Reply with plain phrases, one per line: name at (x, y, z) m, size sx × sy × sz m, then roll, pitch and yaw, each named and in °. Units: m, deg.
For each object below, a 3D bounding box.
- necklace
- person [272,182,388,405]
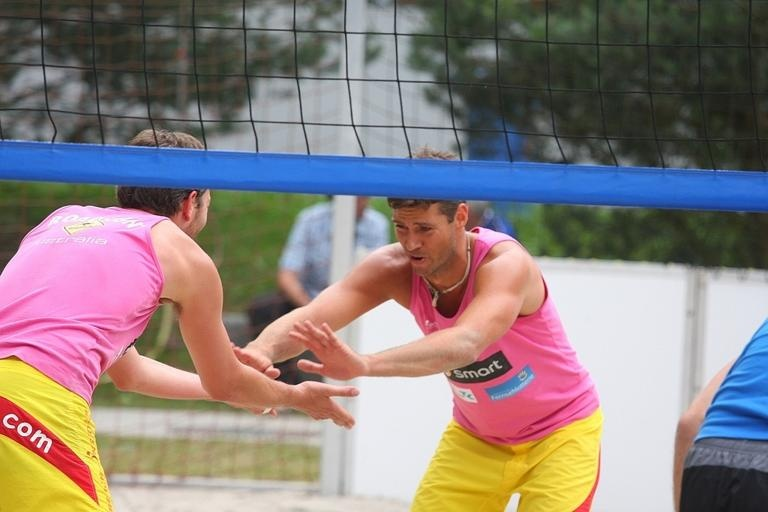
necklace at (0.489, 0.131, 9.178) m, size 0.343 × 0.468 × 0.130 m, roll 3°, pitch -1°, yaw 28°
person at (-0.519, 0.265, 13.040) m, size 1.301 × 1.747 × 0.648 m, roll 4°, pitch 9°, yaw 15°
